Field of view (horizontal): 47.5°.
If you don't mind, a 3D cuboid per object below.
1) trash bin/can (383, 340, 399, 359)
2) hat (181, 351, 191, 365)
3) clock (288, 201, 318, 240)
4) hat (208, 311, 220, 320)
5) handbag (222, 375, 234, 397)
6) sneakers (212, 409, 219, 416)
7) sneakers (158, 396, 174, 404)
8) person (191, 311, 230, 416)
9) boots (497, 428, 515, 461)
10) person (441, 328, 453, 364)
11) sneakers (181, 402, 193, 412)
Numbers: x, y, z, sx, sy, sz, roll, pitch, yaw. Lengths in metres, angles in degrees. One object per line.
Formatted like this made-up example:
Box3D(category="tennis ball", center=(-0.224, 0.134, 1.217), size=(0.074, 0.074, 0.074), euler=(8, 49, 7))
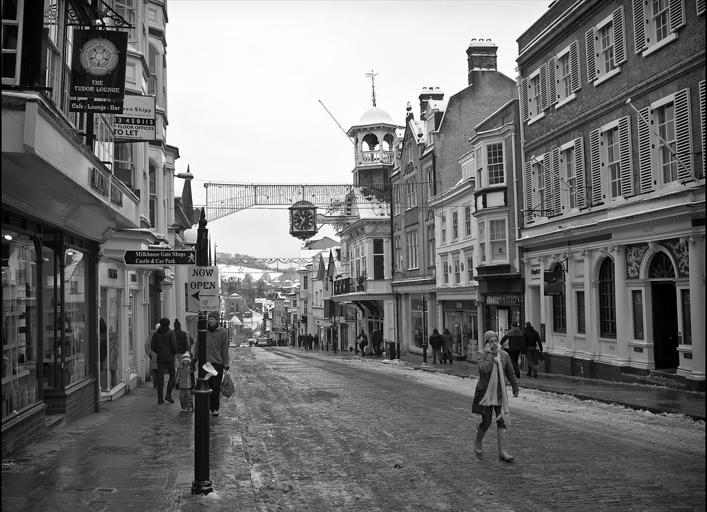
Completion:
Box3D(category="trash bin/can", center=(2.051, 5.139, 43.804), size=(0.467, 1.266, 1.284), euler=(1, -9, -12))
Box3D(category="hat", center=(-4.013, 2.459, 19.214), size=(0.214, 0.275, 0.320), euler=(2, -10, -9))
Box3D(category="clock", center=(-2.022, -1.285, 32.562), size=(1.150, 1.656, 0.827), euler=(-2, -20, -3))
Box3D(category="hat", center=(-3.158, 1.349, 18.130), size=(0.176, 0.240, 0.240), euler=(-1, -16, 1))
Box3D(category="handbag", center=(-2.856, 2.927, 18.098), size=(0.246, 0.571, 0.407), euler=(0, 3, -17))
Box3D(category="sneakers", center=(-3.242, 3.656, 18.762), size=(0.077, 0.111, 0.247), euler=(-1, -11, -5))
Box3D(category="sneakers", center=(-4.878, 3.736, 20.865), size=(0.425, 0.209, 0.155), euler=(-3, -4, -7))
Box3D(category="person", center=(-3.228, 2.465, 18.155), size=(0.716, 2.415, 0.668), euler=(1, 15, -11))
Box3D(category="boots", center=(2.811, 3.444, 14.771), size=(0.299, 0.561, 0.521), euler=(1, 3, 13))
Box3D(category="person", center=(4.246, 4.157, 36.529), size=(0.415, 1.624, 1.187), euler=(1, 3, 6))
Box3D(category="sneakers", center=(-4.032, 3.670, 19.436), size=(0.125, 0.197, 0.437), euler=(2, -17, -14))
